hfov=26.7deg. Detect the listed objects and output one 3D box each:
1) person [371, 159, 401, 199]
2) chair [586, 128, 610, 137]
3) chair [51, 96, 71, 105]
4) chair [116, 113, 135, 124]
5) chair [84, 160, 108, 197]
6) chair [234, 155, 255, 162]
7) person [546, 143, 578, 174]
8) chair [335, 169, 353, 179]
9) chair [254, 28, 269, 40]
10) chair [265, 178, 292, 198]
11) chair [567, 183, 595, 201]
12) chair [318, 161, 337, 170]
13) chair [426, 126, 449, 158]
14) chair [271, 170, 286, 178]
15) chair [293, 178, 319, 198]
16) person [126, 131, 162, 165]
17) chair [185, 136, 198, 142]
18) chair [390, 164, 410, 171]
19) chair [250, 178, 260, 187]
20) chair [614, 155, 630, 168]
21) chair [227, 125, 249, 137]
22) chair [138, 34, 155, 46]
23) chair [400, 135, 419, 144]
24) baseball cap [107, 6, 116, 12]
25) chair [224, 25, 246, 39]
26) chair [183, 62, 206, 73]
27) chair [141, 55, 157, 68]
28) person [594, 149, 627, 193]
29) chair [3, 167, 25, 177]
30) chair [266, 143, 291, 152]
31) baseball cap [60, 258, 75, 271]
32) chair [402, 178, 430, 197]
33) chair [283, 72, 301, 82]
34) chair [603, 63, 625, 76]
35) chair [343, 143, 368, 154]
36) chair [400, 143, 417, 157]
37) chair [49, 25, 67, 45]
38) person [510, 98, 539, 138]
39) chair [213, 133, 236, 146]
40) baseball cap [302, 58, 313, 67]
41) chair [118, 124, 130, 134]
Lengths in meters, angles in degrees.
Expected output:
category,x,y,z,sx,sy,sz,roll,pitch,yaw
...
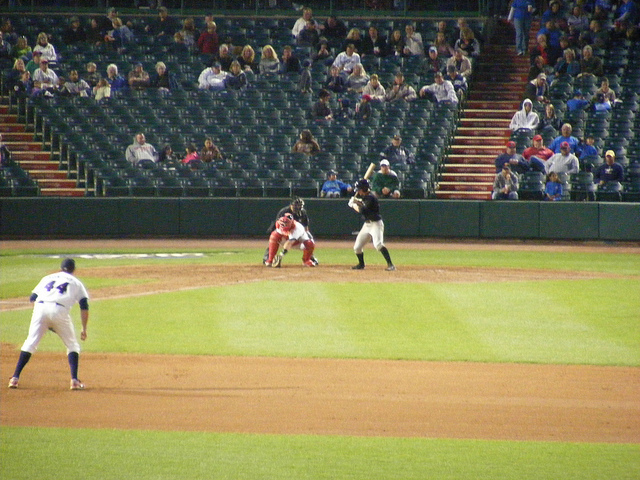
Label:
category,x,y,z,sx,sy,sz,roll,pitch,yaw
person,2.049,-1.837,42.982,1.033,1.374,1.060,-3,4,-4
chair,9.491,-3.657,45.607,0.795,0.306,0.232,1,3,-15
chair,-8.973,-4.799,46.381,0.657,0.274,0.251,1,3,-14
chair,-6.719,-4.183,46.237,0.630,0.378,0.402,1,3,-7
chair,-7.595,-2.141,45.071,0.867,1.109,0.875,-12,7,-14
chair,-2.571,-2.782,45.500,0.679,0.235,0.237,1,3,-5
person,7.967,-2.627,44.006,1.082,1.106,0.689,6,-1,32
chair,0.811,-2.219,45.117,0.353,0.221,0.347,-5,9,-45
chair,-2.183,-7.630,49.947,0.540,0.462,0.548,1,3,-4
chair,-1.385,-1.767,44.587,0.676,0.455,0.704,0,4,1
chair,8.539,-1.579,43.729,0.572,0.643,0.604,6,-3,15
chair,0.230,-2.551,45.335,0.593,0.258,0.144,1,3,-4
chair,4.061,-3.500,46.042,0.944,0.735,0.422,-1,-6,24
chair,-1.406,-2.251,45.153,0.477,0.257,0.190,1,3,-11
chair,-0.468,-1.767,44.638,0.659,0.643,0.623,0,-8,-5
person,-6.002,-3.025,45.267,1.166,1.094,0.626,-4,-22,-17
chair,-4.424,-3.465,45.943,0.439,0.192,0.132,0,4,-24
chair,2.654,-2.460,44.928,0.558,0.304,0.384,0,-4,2
chair,-2.194,-1.945,44.938,0.254,0.197,0.254,1,0,5
chair,10.099,-2.680,44.954,0.496,0.472,0.433,-1,-7,39
chair,-2.833,-3.769,46.294,0.734,0.409,0.433,1,3,-5
chair,-6.370,-7.272,49.154,0.446,0.213,0.453,2,17,-7
chair,3.055,-3.443,45.840,0.611,0.308,0.366,1,3,-8
baseball cap,-7.925,-8.677,50.823,0.363,0.158,0.428,2,8,7
chair,-3.160,-7.681,50.007,0.563,0.361,0.577,2,8,4
chair,-4.524,-6.163,48.209,0.807,0.389,0.302,1,3,-8
chair,-6.209,-6.426,48.461,0.518,0.477,0.478,1,3,-9
person,9.397,-2.022,43.569,0.915,1.720,0.846,4,-6,6
chair,-10.124,-2.255,44.244,0.668,0.313,0.339,1,3,-16
chair,-1.422,-3.178,45.847,0.842,0.291,0.289,2,3,1
baseball cap,-5.496,0.502,29.217,0.208,0.307,0.291,10,35,-4
chair,3.214,-1.919,44.698,0.781,0.801,0.576,4,31,12
chair,-1.024,-5.759,47.674,0.571,0.347,0.258,2,3,1
chair,10.494,-6.030,47.806,0.723,0.408,0.418,2,3,13
chair,1.204,-3.137,45.764,0.835,0.360,0.333,1,3,-2
chair,3.029,-3.084,45.543,0.635,0.356,0.439,3,-10,7
chair,-9.699,-7.517,49.366,0.736,0.783,0.756,-3,-3,2
person,6.983,-4.138,45.652,0.729,1.251,0.884,-2,5,-42
chair,-3.286,-3.423,45.995,0.770,0.374,0.353,1,3,-7
baseball cap,-0.441,-6.299,48.022,0.242,0.289,0.316,34,40,27
chair,-6.747,-3.812,45.987,0.282,0.224,0.326,0,0,-4
